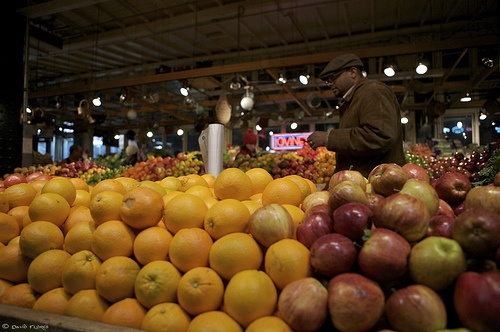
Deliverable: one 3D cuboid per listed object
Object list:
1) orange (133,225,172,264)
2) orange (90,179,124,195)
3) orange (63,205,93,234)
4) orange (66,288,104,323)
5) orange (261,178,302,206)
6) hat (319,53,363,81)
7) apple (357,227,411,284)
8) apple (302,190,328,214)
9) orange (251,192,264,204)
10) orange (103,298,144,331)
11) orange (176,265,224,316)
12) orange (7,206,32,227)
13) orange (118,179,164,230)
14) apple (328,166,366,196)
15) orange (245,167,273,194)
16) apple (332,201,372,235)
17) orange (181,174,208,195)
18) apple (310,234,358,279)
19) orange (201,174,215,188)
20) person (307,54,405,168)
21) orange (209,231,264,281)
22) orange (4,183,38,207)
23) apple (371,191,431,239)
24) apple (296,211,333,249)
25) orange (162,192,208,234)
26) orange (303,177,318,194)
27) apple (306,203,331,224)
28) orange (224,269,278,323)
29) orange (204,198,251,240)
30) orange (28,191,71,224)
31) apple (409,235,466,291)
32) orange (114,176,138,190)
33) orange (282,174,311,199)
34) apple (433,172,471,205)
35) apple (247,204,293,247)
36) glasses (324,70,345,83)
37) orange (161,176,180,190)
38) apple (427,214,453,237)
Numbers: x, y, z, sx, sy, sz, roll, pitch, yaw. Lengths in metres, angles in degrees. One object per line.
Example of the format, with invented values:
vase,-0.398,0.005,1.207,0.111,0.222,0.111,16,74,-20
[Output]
orange,-0.619,0.522,2.648,0.215,0.270,0.228,18,22,-16
orange,-1.085,0.163,2.968,0.140,0.156,0.151,-12,7,19
orange,-1.250,0.381,2.849,0.175,0.242,0.188,2,7,7
orange,-1.026,0.898,2.524,0.179,0.233,0.185,2,-32,-8
orange,0.222,0.186,2.791,0.187,0.209,0.209,17,47,29
hat,0.824,-0.916,3.633,0.295,0.140,0.251,-12,3,13
apple,0.778,0.508,2.456,0.273,0.295,0.291,29,2,-11
apple,0.451,0.232,2.730,0.134,0.147,0.140,1,31,22
orange,0.054,0.239,2.924,0.064,0.088,0.069,-3,3,0
orange,-0.776,0.918,2.495,0.171,0.193,0.219,12,7,14
orange,-0.319,0.757,2.522,0.263,0.281,0.273,10,20,-14
orange,-1.690,0.353,2.935,0.152,0.205,0.160,-2,2,-13
orange,-0.712,0.288,2.710,0.271,0.284,0.256,26,-8,45
apple,0.697,0.123,2.794,0.179,0.197,0.175,20,-19,-41
orange,0.073,0.113,3.124,0.186,0.186,0.210,21,-26,-3
apple,0.626,0.331,2.431,0.210,0.199,0.186,2,38,-2
orange,-0.455,0.151,3.210,0.182,0.162,0.149,33,-24,-30
apple,0.490,0.525,2.415,0.278,0.258,0.250,-10,20,-8
orange,-0.342,0.119,3.306,0.094,0.123,0.102,4,-36,-2
person,0.964,-0.468,3.459,0.791,1.073,0.624,4,6,27
orange,-0.087,0.560,2.590,0.283,0.287,0.279,-20,1,11
orange,-1.763,0.236,3.047,0.168,0.194,0.213,-32,-29,21
apple,0.943,0.298,2.480,0.246,0.293,0.271,-7,-10,6
apple,0.407,0.396,2.472,0.200,0.216,0.203,36,-25,-12
orange,-0.429,0.279,2.660,0.274,0.257,0.256,16,-6,-4
orange,0.487,0.165,3.158,0.108,0.075,0.113,17,-10,-6
apple,0.446,0.294,2.569,0.121,0.114,0.105,-11,6,-28
orange,0.005,0.808,2.462,0.283,0.353,0.282,29,-34,-14
orange,-0.161,0.414,2.711,0.288,0.267,0.252,-13,-13,-16
orange,-1.457,0.338,2.880,0.249,0.235,0.220,16,-20,-22
apple,1.091,0.545,2.400,0.285,0.317,0.291,20,-5,-23
orange,-0.978,0.138,3.119,0.157,0.150,0.140,4,-20,-5
orange,0.354,0.184,3.024,0.166,0.217,0.178,4,-32,-5
apple,1.368,0.144,2.655,0.194,0.229,0.246,0,-1,3
apple,0.157,0.357,2.645,0.303,0.334,0.332,-1,23,10
glasses,0.774,-0.815,3.625,0.094,0.031,0.104,-14,30,48
orange,-0.637,0.142,3.169,0.124,0.113,0.115,16,33,-24
apple,1.160,0.381,2.451,0.137,0.127,0.133,-49,11,-33
